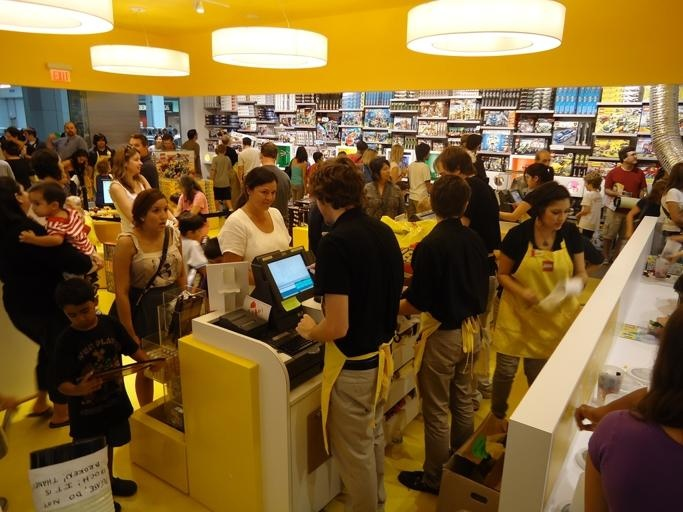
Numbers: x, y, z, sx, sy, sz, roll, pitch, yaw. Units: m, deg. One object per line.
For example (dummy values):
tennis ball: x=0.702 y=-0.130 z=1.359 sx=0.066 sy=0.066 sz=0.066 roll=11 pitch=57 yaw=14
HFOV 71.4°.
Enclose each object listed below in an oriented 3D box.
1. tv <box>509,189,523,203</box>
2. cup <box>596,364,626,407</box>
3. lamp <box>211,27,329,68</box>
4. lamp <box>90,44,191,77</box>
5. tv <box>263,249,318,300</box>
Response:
tv: x=2.392 y=-0.847 z=6.521 sx=0.175 sy=0.172 sz=0.042 roll=0 pitch=-5 yaw=-41
cup: x=1.489 y=0.720 z=2.632 sx=0.115 sy=0.199 sz=0.117 roll=6 pitch=-4 yaw=0
lamp: x=-0.635 y=-1.907 z=4.292 sx=0.978 sy=0.239 sz=0.956 roll=-2 pitch=18 yaw=-11
lamp: x=-1.984 y=-1.972 z=4.679 sx=0.597 sy=0.152 sz=0.620 roll=-1 pitch=8 yaw=-8
tv: x=-0.311 y=0.118 z=2.979 sx=0.125 sy=0.291 sz=0.374 roll=11 pitch=19 yaw=30
